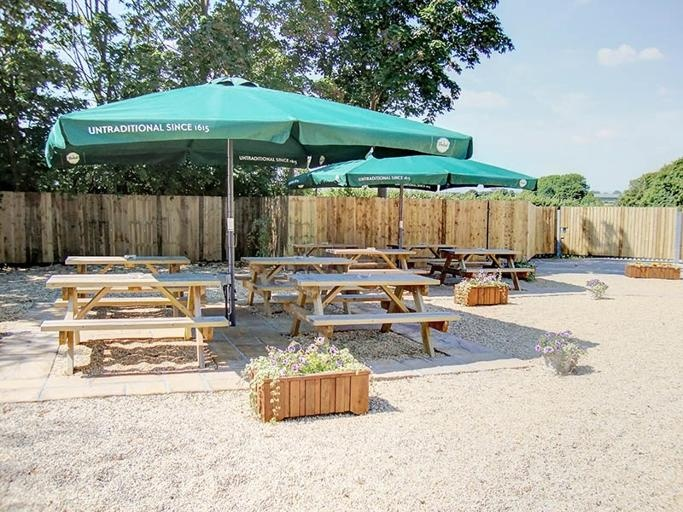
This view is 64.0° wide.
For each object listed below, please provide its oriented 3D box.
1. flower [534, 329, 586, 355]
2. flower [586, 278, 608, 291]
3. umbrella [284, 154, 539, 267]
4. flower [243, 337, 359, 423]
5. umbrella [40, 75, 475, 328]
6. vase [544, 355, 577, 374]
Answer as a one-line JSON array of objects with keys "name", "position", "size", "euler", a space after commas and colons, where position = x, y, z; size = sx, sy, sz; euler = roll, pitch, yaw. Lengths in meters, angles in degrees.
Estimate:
[{"name": "flower", "position": [2.658, 1.064, 6.816], "size": [0.451, 0.234, 0.437], "euler": [1, 8, 14]}, {"name": "flower", "position": [5.593, 0.641, 12.096], "size": [0.400, 0.186, 0.392], "euler": [0, 3, -3]}, {"name": "umbrella", "position": [1.374, -0.518, 12.231], "size": [3.454, 1.868, 3.405], "euler": [2, 4, -21]}, {"name": "flower", "position": [-0.275, 1.251, 5.747], "size": [1.075, 0.493, 1.098], "euler": [-4, 8, -21]}, {"name": "umbrella", "position": [-1.571, -0.770, 8.072], "size": [4.924, 3.650, 4.020], "euler": [-2, 9, -24]}, {"name": "vase", "position": [2.693, 1.316, 6.686], "size": [0.262, 0.149, 0.287], "euler": [4, -1, 39]}]
